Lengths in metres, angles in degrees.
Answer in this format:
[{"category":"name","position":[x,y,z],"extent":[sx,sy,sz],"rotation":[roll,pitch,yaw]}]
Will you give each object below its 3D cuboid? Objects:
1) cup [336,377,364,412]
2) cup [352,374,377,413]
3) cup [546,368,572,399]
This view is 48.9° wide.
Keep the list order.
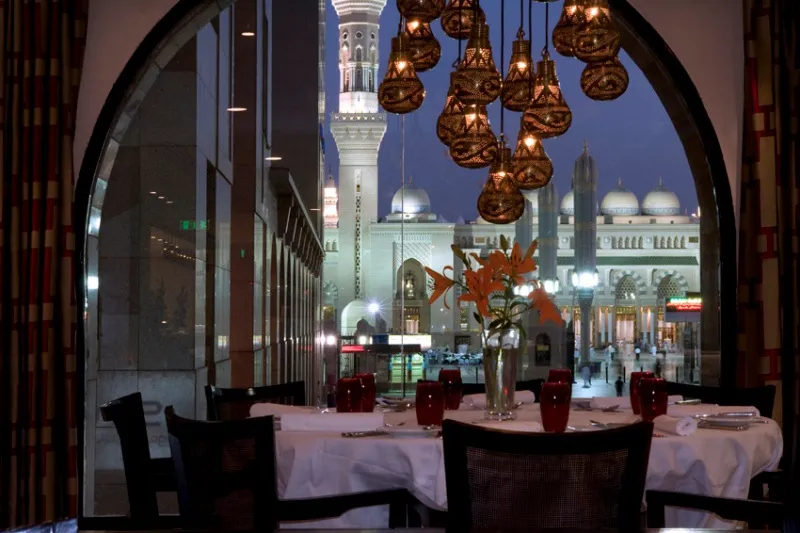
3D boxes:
[{"category":"cup","position":[-0.256,0.653,4.517],"extent":[0.150,0.149,0.152],"rotation":[0,-1,0]},{"category":"cup","position":[-0.177,0.652,4.555],"extent":[0.161,0.242,0.170],"rotation":[-3,-5,0]},{"category":"cup","position":[0.880,0.624,4.848],"extent":[0.106,0.106,0.106],"rotation":[0,-2,0]}]
